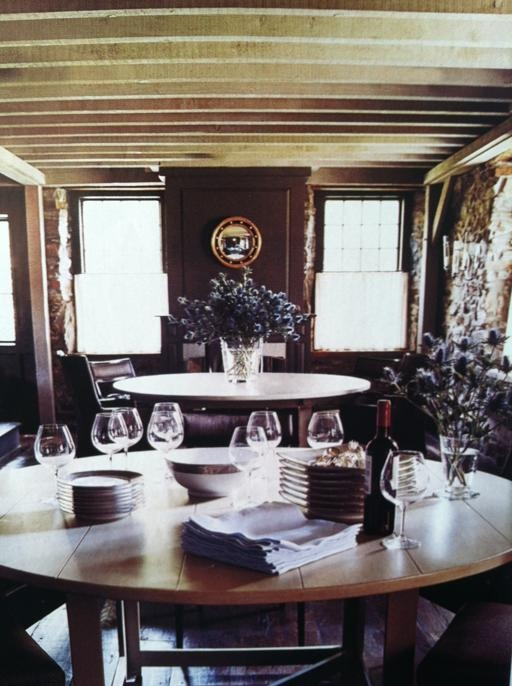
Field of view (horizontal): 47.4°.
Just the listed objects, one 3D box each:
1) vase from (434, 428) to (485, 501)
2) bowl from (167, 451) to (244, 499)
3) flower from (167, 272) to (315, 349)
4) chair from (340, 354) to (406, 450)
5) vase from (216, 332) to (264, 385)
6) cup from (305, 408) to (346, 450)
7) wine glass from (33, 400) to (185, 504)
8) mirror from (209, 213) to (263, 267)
[{"bbox_3d":[0.483,0.303,1.461,0.135,0.188,0.127,-1,1,-19],"label":"vase"},{"bbox_3d":[-0.112,0.312,1.365,0.183,0.080,0.183,0,-1,0],"label":"bowl"},{"bbox_3d":[-0.103,-0.185,3.222,0.521,0.285,0.480,3,-6,-30],"label":"flower"},{"bbox_3d":[0.569,0.287,2.682,0.313,0.413,0.310,16,9,29],"label":"chair"},{"bbox_3d":[-0.083,0.096,3.345,0.253,0.265,0.248,1,-5,-2],"label":"vase"},{"bbox_3d":[0.174,0.217,1.504,0.095,0.092,0.099,-1,-5,0],"label":"cup"},{"bbox_3d":[-0.324,0.242,1.349,0.215,0.121,0.298,0,-4,-1],"label":"wine glass"},{"bbox_3d":[-0.199,-1.020,5.678,0.540,0.542,0.063,0,8,0],"label":"mirror"}]
